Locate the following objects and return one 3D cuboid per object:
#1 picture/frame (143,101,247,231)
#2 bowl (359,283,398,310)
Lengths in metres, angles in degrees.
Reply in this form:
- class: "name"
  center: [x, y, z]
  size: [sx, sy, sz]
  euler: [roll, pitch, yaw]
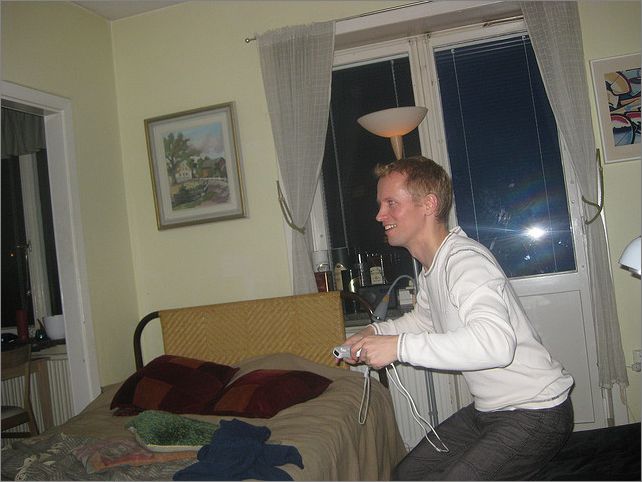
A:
- class: "picture/frame"
  center: [-0.962, -0.598, 3.867]
  size: [0.894, 1.047, 0.056]
  euler: [-7, 0, 18]
- class: "bowl"
  center: [0.418, 0.388, 3.580]
  size: [0.275, 0.203, 0.161]
  euler: [1, -2, 1]
